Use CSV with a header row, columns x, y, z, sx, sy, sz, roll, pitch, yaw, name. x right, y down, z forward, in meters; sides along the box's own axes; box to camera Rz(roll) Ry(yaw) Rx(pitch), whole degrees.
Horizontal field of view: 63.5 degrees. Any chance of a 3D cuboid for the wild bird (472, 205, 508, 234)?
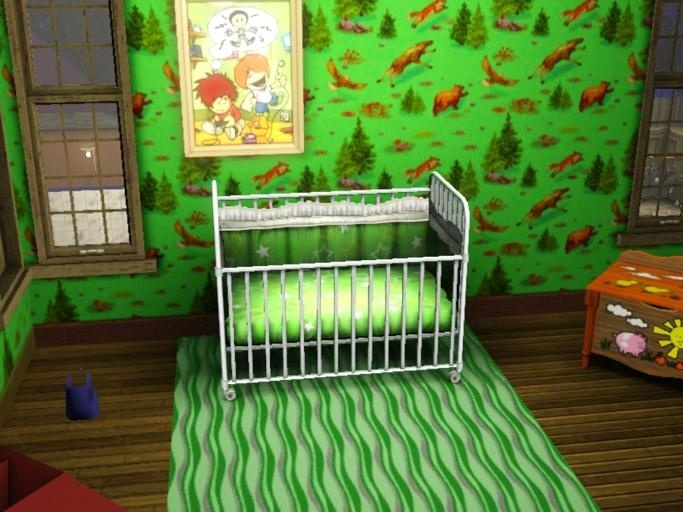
x,y,z,sx,sy,sz,roll,pitch,yaw,name
1.098,-0.263,4.163,0.266,0.083,0.163,17,36,7,wild bird
